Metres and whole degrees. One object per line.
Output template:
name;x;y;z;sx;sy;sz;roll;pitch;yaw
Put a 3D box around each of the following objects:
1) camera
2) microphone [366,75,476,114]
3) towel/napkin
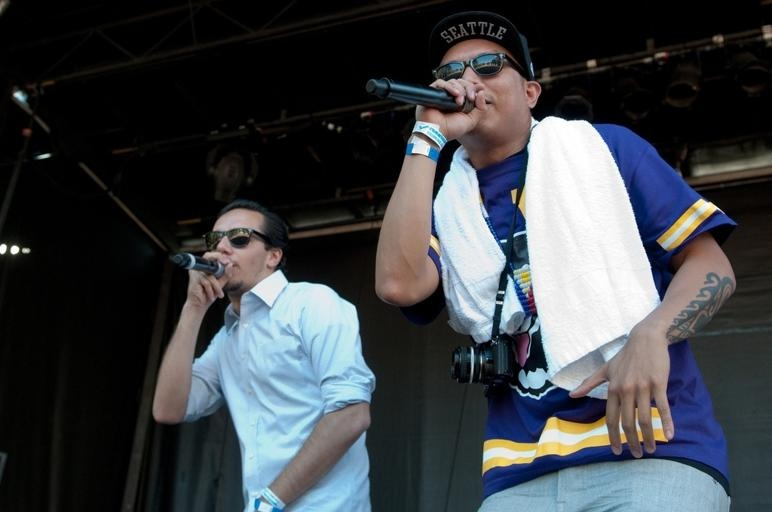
camera;0.362;0.408;3.056;0.213;0.189;0.280;-1;-20;-8
microphone;0.120;-0.614;3.020;0.243;0.231;0.196;0;-9;-3
towel/napkin;0.610;0.004;2.934;0.765;1.046;0.301;-13;-18;25
